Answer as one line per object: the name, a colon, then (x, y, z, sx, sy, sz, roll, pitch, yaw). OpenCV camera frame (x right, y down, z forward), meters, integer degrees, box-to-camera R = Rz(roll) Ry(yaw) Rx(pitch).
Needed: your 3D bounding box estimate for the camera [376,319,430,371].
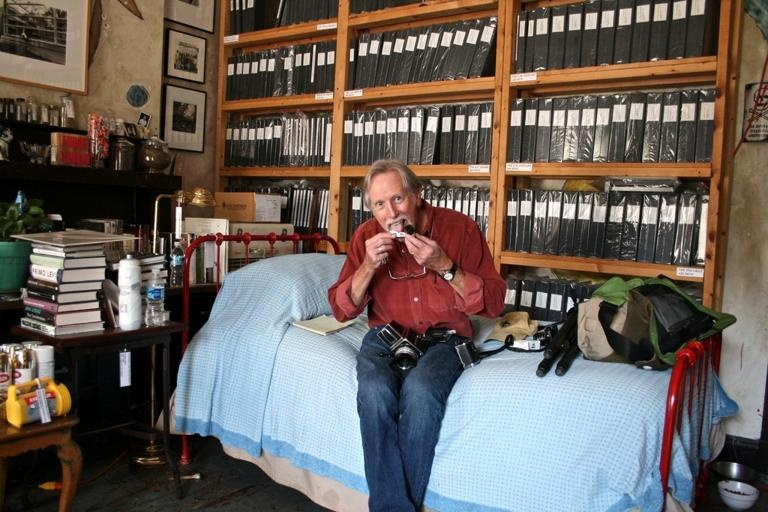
camera: (0.101, 0.432, 2.669, 0.249, 0.183, 0.105, 47, 12, 19)

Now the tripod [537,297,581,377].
tripod: (0.847, 0.345, 2.542, 0.125, 0.121, 0.665, 2, 23, 21)

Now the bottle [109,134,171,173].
bottle: (-1.806, -0.747, 3.897, 0.406, 0.224, 0.238, 4, 5, 4)

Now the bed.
bed: (0.152, 0.387, 2.645, 2.128, 0.835, 1.454, 5, 11, 32)

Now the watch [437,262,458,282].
watch: (0.326, 0.082, 2.669, 0.074, 0.110, 0.101, 35, -2, -1)

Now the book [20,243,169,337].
book: (-1.482, 0.154, 2.722, 0.449, 0.488, 0.547, 0, 1, 42)

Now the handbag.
handbag: (1.227, 0.306, 2.450, 0.459, 0.227, 0.486, -23, 10, -33)

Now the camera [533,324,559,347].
camera: (0.848, 0.397, 2.754, 0.087, 0.050, 0.125, -2, 24, 47)

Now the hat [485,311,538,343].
hat: (0.707, 0.385, 2.872, 0.184, 0.064, 0.180, -15, 11, -41)
